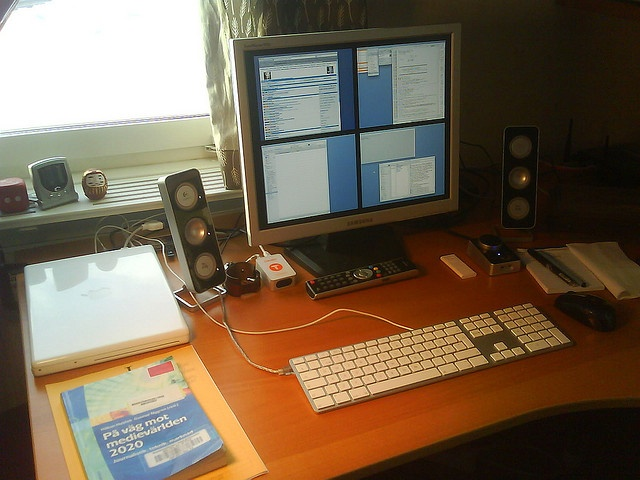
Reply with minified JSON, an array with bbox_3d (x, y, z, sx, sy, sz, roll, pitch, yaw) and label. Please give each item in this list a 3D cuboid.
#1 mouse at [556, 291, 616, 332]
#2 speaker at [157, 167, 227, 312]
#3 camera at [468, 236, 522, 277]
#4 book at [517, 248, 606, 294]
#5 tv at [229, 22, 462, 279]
[{"bbox_3d":[0.589,0.153,1.123,0.062,0.041,0.113,-8,30,-32],"label":"mouse"},{"bbox_3d":[-0.270,0.012,1.237,0.157,0.347,0.185,-14,36,-27],"label":"speaker"},{"bbox_3d":[0.459,0.028,1.311,0.083,0.058,0.123,-13,38,-15],"label":"camera"},{"bbox_3d":[0.610,0.082,1.253,0.178,0.043,0.161,-5,20,-17],"label":"book"},{"bbox_3d":[0.068,-0.232,1.270,0.658,0.540,0.066,-11,22,-20],"label":"tv"}]
